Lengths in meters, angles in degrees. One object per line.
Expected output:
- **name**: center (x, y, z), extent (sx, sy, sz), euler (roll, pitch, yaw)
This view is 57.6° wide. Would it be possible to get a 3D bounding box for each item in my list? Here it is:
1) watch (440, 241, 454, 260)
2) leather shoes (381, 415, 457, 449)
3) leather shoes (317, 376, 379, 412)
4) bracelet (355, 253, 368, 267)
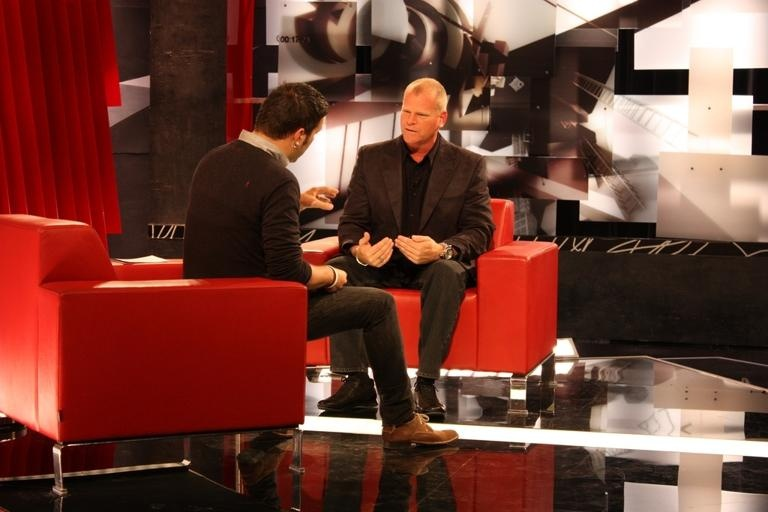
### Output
- **watch**: center (0.327, -0.012, 3.581), extent (0.087, 0.089, 0.062), euler (1, 3, 25)
- **leather shoes**: center (0.151, 0.791, 3.167), extent (0.363, 0.147, 0.128), euler (-1, -4, -7)
- **leather shoes**: center (-0.172, 0.705, 3.602), extent (0.387, 0.237, 0.129), euler (1, -1, -21)
- **bracelet**: center (-0.127, 0.025, 3.684), extent (0.054, 0.041, 0.060), euler (1, 6, 1)
